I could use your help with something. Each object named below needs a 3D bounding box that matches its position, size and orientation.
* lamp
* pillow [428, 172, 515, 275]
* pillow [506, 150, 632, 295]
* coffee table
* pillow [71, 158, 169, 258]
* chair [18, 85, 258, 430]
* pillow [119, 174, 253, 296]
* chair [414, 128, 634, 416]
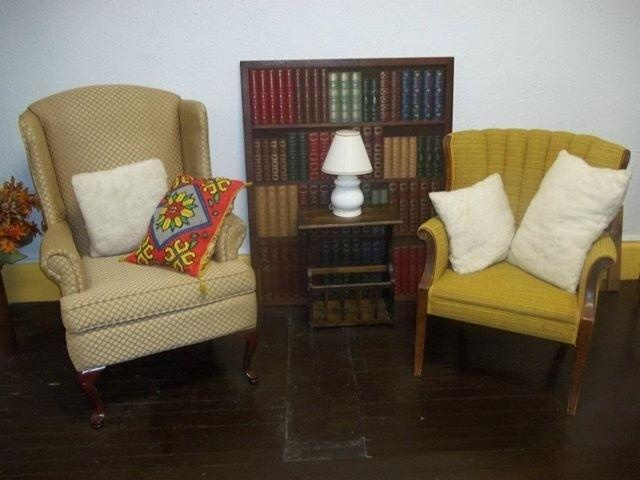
[{"bbox_3d":[0.167,-0.416,3.527,0.300,0.541,0.299,-1,26,3],"label":"lamp"},{"bbox_3d":[0.865,-0.066,3.165,0.507,0.504,0.154,-18,0,-25],"label":"pillow"},{"bbox_3d":[1.286,-0.088,2.941,0.218,0.732,0.597,2,21,-39],"label":"pillow"},{"bbox_3d":[0.196,0.177,3.696,0.748,0.828,0.456,-2,9,-4],"label":"coffee table"},{"bbox_3d":[-1.146,-0.167,3.177,0.490,0.466,0.251,-13,5,-15],"label":"pillow"},{"bbox_3d":[-1.053,-0.023,3.259,1.188,1.609,1.262,-4,21,-12],"label":"chair"},{"bbox_3d":[-0.746,-0.077,3.121,0.562,0.477,0.476,12,29,26],"label":"pillow"},{"bbox_3d":[1.114,0.065,3.193,1.030,1.257,0.987,6,23,18],"label":"chair"}]
